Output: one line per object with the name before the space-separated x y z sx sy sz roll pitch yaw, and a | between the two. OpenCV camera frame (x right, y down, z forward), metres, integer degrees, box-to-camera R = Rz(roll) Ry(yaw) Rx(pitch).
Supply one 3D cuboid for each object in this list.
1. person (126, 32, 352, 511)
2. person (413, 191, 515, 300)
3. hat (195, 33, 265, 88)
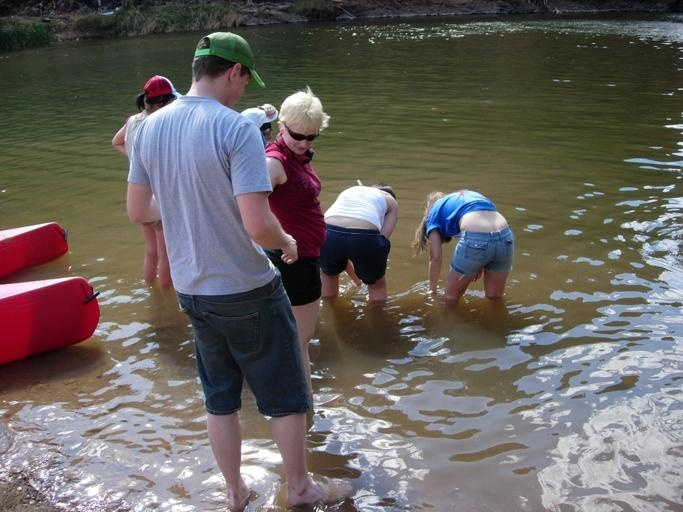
person | -0.772 0.192 5.252 0.858 3.504 1.161 -17 24 -30
person | 1.361 -0.090 7.701 0.901 1.179 0.484 -1 20 7
hat | -0.763 -1.431 5.292 0.558 0.249 0.330 10 7 -30
